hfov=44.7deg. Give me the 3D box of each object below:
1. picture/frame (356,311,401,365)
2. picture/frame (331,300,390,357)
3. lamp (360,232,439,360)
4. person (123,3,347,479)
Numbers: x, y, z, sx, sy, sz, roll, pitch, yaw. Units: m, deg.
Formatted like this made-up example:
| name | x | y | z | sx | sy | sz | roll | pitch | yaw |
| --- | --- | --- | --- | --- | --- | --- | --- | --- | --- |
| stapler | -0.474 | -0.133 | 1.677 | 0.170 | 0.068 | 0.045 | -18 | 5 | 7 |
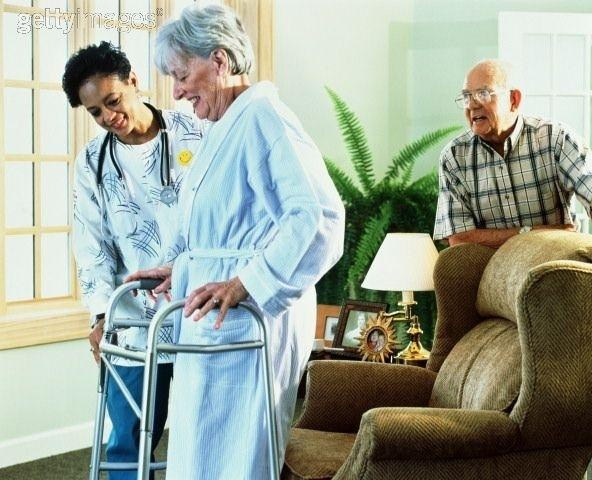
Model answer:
| name | x | y | z | sx | sy | sz | roll | pitch | yaw |
| --- | --- | --- | --- | --- | --- | --- | --- | --- | --- |
| picture/frame | 0.370 | 0.453 | 3.335 | 0.171 | 0.244 | 0.025 | -13 | -26 | 29 |
| picture/frame | 0.313 | 0.430 | 3.469 | 0.228 | 0.322 | 0.021 | 1 | -32 | 29 |
| lamp | 0.429 | 0.229 | 3.582 | 0.412 | 0.820 | 0.480 | -2 | 6 | -7 |
| person | -0.156 | 0.006 | 2.190 | 0.546 | 1.430 | 0.498 | -1 | 2 | -14 |
